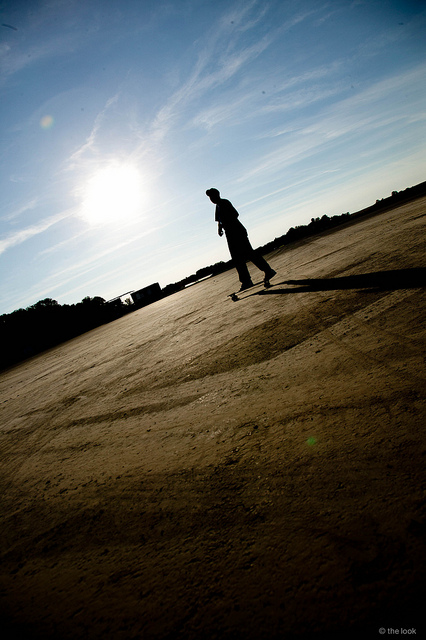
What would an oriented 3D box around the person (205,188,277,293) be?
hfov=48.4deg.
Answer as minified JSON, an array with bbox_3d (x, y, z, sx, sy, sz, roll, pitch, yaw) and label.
[{"bbox_3d":[0.452,-1.311,7.655,0.678,1.589,1.355,-14,3,3],"label":"person"}]
